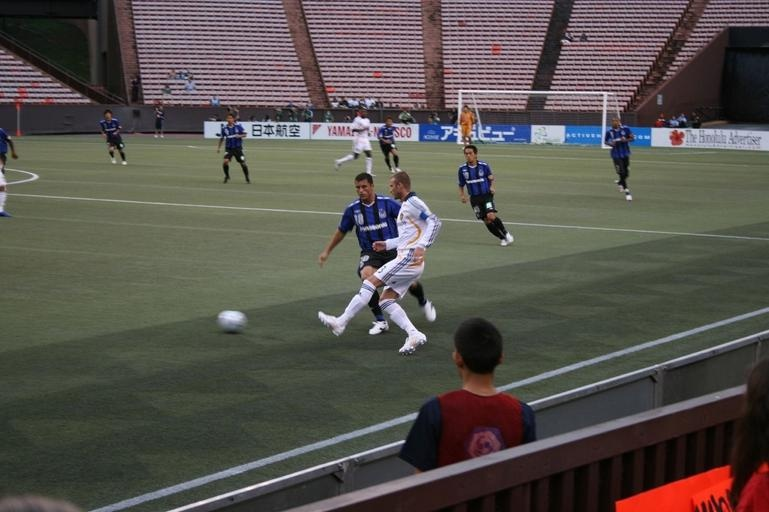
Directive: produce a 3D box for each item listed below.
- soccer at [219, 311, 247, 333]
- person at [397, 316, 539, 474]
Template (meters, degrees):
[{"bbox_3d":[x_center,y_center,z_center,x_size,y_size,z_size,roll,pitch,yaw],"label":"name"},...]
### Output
[{"bbox_3d":[-1.884,0.807,11.230,0.404,0.212,0.252,6,20,8],"label":"soccer"},{"bbox_3d":[0.574,0.936,6.025,0.789,0.955,0.484,-10,12,-36],"label":"person"}]
